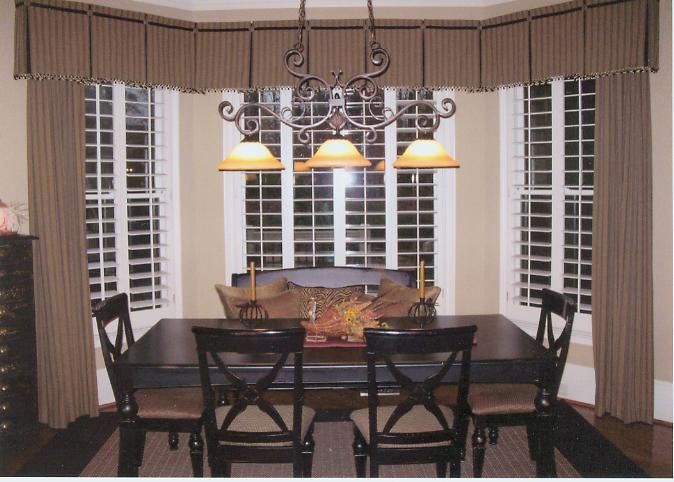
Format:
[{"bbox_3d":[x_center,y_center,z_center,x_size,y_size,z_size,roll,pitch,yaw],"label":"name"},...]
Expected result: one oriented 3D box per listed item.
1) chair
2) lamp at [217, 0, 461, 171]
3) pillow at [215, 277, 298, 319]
[{"bbox_3d":[0.209,0.943,5.077,3.236,1.104,2.227,-3,8,9],"label":"chair"},{"bbox_3d":[0.020,-1.350,5.598,1.523,1.557,0.371,0,6,2],"label":"lamp"},{"bbox_3d":[-0.582,0.464,5.340,0.379,0.124,0.395,-2,11,-19],"label":"pillow"}]
